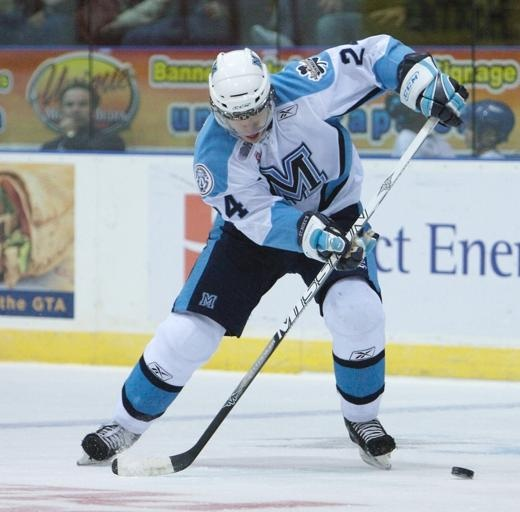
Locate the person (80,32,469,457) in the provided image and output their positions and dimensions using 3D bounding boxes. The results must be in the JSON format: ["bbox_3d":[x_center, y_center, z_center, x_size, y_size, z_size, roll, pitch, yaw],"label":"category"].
[{"bbox_3d":[-0.005,-0.006,3.612,1.550,1.449,0.795,-9,13,1],"label":"person"}]

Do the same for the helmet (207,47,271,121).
[{"bbox_3d":[-0.069,-0.574,3.343,0.197,0.226,0.174,-2,10,-2],"label":"helmet"}]

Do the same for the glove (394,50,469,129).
[{"bbox_3d":[0.573,-0.564,3.409,0.273,0.200,0.117,38,14,4],"label":"glove"}]

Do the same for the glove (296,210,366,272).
[{"bbox_3d":[0.217,-0.062,3.367,0.243,0.142,0.101,17,-17,-28],"label":"glove"}]

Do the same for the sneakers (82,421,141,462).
[{"bbox_3d":[-0.517,0.638,3.663,0.113,0.082,0.251,-27,0,31],"label":"sneakers"}]

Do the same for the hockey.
[{"bbox_3d":[0.123,0.169,3.982,0.283,1.917,0.110,49,16,22],"label":"hockey"}]
